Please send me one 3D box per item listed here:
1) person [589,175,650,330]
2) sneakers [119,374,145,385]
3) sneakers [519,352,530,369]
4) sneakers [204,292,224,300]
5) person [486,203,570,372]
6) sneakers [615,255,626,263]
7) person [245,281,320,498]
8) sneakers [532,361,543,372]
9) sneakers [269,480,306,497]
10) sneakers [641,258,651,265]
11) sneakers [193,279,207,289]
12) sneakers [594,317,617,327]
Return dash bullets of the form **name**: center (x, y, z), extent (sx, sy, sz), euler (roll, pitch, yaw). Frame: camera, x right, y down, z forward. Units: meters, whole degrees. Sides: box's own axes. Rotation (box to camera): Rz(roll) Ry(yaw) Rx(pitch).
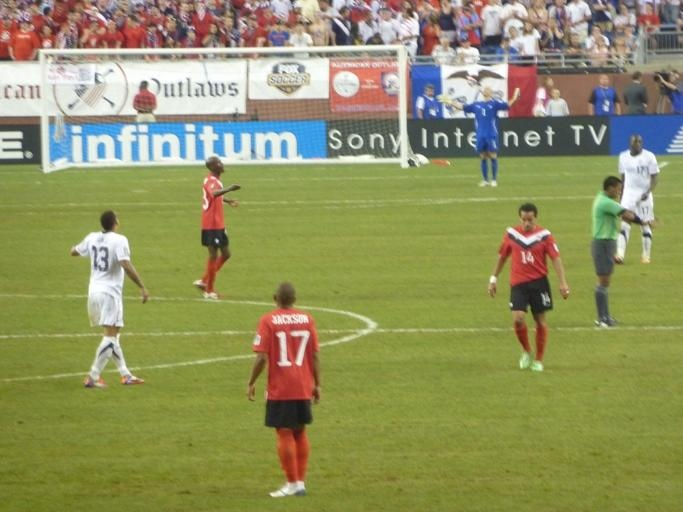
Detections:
- **person**: center (5.516, -0.171, 31.648), extent (0.907, 2.968, 1.309), euler (-2, 5, 10)
- **sneakers**: center (-3.881, 2.128, 29.045), extent (0.448, 0.192, 0.165), euler (0, 6, -3)
- **sneakers**: center (3.468, 1.821, 29.534), extent (0.174, 0.306, 0.143), euler (0, -2, 4)
- **sneakers**: center (-2.834, 0.725, 34.175), extent (0.339, 0.149, 0.130), euler (0, 43, -4)
- **person**: center (3.525, 0.467, 29.396), extent (1.352, 3.049, 0.844), euler (-3, 5, 5)
- **sneakers**: center (5.697, -0.045, 32.188), extent (0.233, 0.121, 0.306), euler (10, -2, 9)
- **person**: center (-0.892, 2.019, 25.426), extent (1.105, 3.345, 0.544), euler (-4, 5, -4)
- **sneakers**: center (3.667, 1.909, 29.332), extent (0.142, 0.200, 0.086), euler (1, 8, 8)
- **sneakers**: center (-0.935, 3.588, 25.512), extent (0.682, 0.279, 0.223), euler (1, 2, 2)
- **sneakers**: center (7.073, -0.010, 36.337), extent (0.187, 0.175, 0.120), euler (-5, 25, -4)
- **sneakers**: center (-3.118, 0.493, 34.240), extent (0.295, 0.203, 0.138), euler (6, 29, 37)
- **sneakers**: center (5.375, 1.204, 31.907), extent (0.466, 0.202, 0.163), euler (-1, 15, -2)
